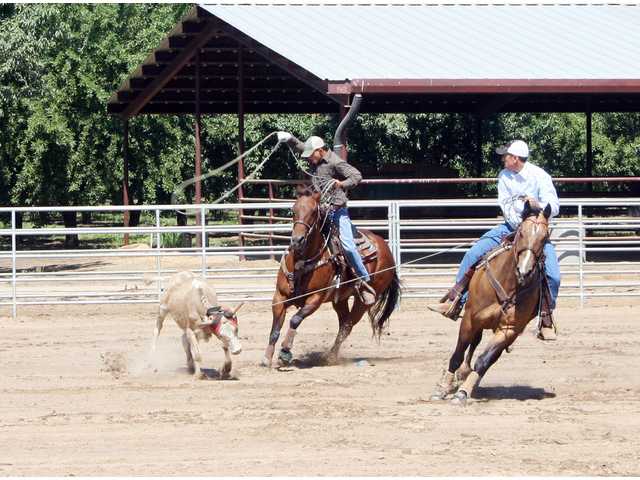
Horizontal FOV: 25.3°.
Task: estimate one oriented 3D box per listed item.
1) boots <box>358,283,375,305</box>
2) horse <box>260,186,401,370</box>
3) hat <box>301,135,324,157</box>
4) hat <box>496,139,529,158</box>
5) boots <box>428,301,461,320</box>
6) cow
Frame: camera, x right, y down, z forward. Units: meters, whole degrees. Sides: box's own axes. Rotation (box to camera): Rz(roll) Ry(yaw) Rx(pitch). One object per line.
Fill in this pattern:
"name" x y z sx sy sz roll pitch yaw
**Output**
"boots" 0.942 1.075 28.264 0.316 0.415 0.199 -12 12 14
"horse" 0.143 0.706 28.134 1.000 3.458 2.754 1 2 43
"hat" -0.133 -1.810 27.899 0.457 0.412 0.474 0 1 0
"hat" 3.590 -1.681 26.400 0.495 0.245 0.326 4 10 9
"boots" 2.334 1.269 27.057 0.275 0.373 0.810 10 6 -31
"cow" -2.268 1.632 27.190 1.898 1.987 0.617 1 2 42
